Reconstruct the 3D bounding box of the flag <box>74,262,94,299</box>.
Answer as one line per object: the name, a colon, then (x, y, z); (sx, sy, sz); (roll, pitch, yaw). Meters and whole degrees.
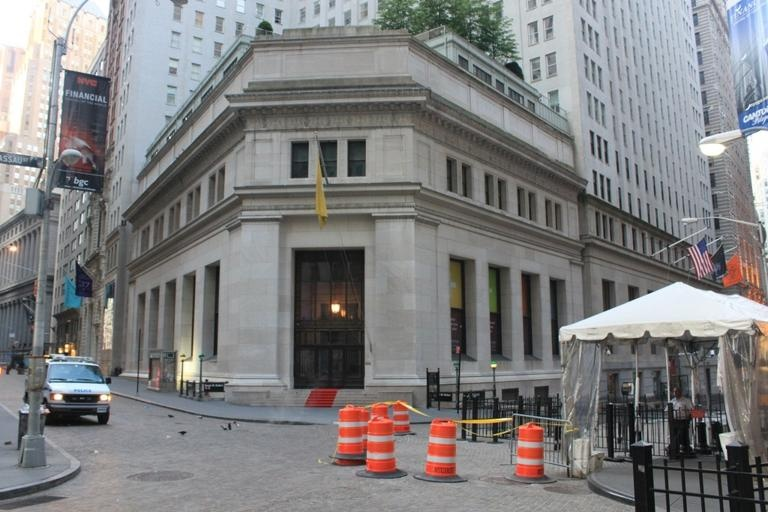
flag: (-27.373, 2.157, 67.503); (1.736, 3.785, 0.187); (16, -44, -40)
